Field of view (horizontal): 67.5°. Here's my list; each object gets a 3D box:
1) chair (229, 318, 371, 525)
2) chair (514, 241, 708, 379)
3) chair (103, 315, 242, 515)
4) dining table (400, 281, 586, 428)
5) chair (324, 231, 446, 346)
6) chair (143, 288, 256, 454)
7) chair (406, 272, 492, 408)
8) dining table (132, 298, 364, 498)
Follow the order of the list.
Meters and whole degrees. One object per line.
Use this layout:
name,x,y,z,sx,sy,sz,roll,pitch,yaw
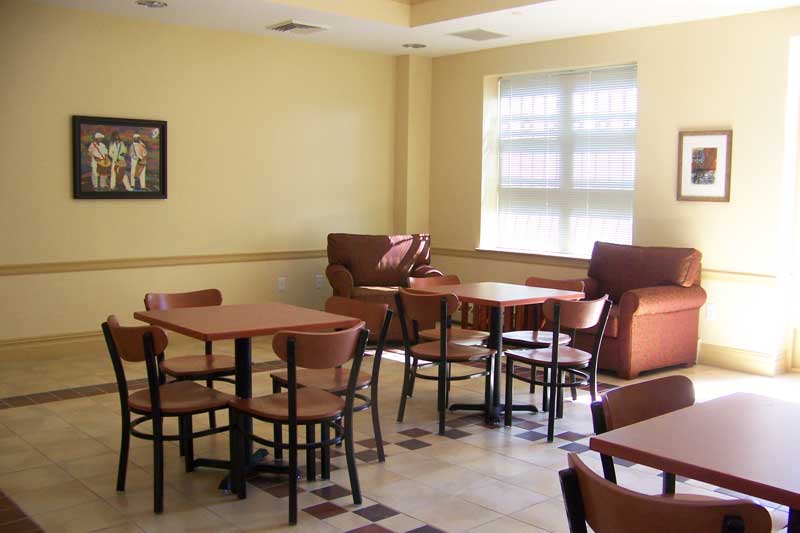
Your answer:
chair,-0.609,0.861,3.642,0.733,1.077,0.690,-5,10,-32
chair,2.428,0.420,6.675,1.050,1.290,1.390,-6,8,-29
chair,-1.430,0.897,3.795,0.743,0.995,0.714,3,-2,-39
dining table,0.871,0.748,5.289,1.303,1.119,1.271,-2,3,-37
chair,-0.164,0.204,6.130,1.498,1.508,0.854,1,-4,-18
chair,-1.446,0.751,4.110,0.607,0.875,0.537,-19,16,-33
chair,0.512,0.463,5.638,0.756,0.958,0.705,-4,7,-26
dining table,-0.943,0.868,4.099,1.297,1.165,1.273,-3,5,-40
